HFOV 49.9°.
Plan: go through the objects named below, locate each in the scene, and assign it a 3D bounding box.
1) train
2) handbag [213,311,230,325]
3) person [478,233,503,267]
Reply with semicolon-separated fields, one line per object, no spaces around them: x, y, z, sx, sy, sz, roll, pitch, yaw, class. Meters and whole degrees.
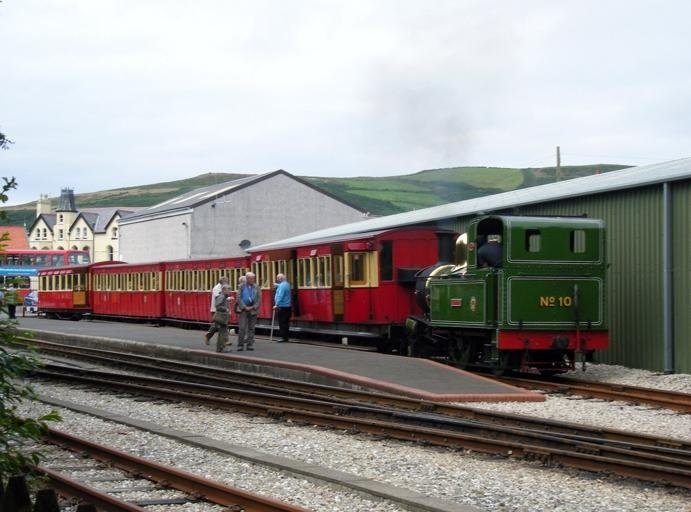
-2.740;1.136;24.754;26.121;2.369;2.393;-1;3;38;train
-3.424;1.665;20.035;0.540;0.349;0.321;-2;5;-7;handbag
3.217;-0.040;16.380;0.496;0.604;0.634;2;-3;-20;person
